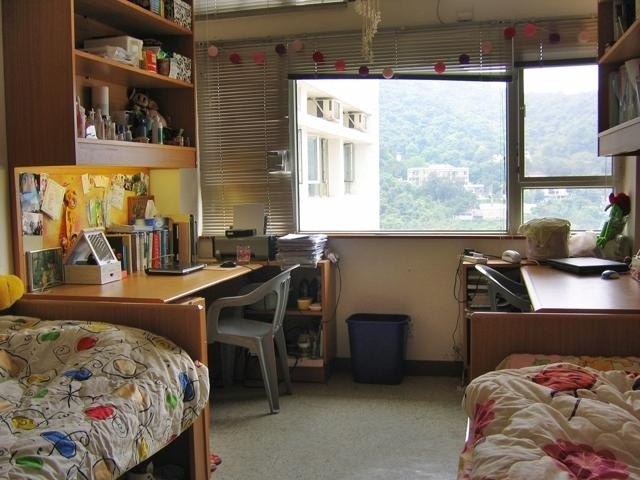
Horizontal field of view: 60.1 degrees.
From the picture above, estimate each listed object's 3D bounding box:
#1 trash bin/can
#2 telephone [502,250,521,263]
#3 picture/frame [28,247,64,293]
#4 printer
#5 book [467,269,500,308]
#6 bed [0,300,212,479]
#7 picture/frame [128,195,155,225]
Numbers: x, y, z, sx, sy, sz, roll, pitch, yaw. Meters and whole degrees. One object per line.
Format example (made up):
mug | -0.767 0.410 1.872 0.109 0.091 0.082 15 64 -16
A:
trash bin/can | 0.395 0.737 4.192 0.679 0.585 0.410 0 -3 8
telephone | 1.320 0.114 3.843 0.075 0.064 0.105 -1 7 -41
picture/frame | -1.488 0.159 2.998 0.056 0.214 0.239 0 4 16
printer | -0.617 -0.033 4.254 0.680 0.564 0.400 0 0 14
book | 1.102 0.334 3.743 0.270 0.151 0.270 -1 37 9
bed | -0.868 0.702 2.693 0.831 0.545 0.866 0 12 -10
picture/frame | -1.247 -0.204 3.815 0.059 0.178 0.188 -1 7 24
